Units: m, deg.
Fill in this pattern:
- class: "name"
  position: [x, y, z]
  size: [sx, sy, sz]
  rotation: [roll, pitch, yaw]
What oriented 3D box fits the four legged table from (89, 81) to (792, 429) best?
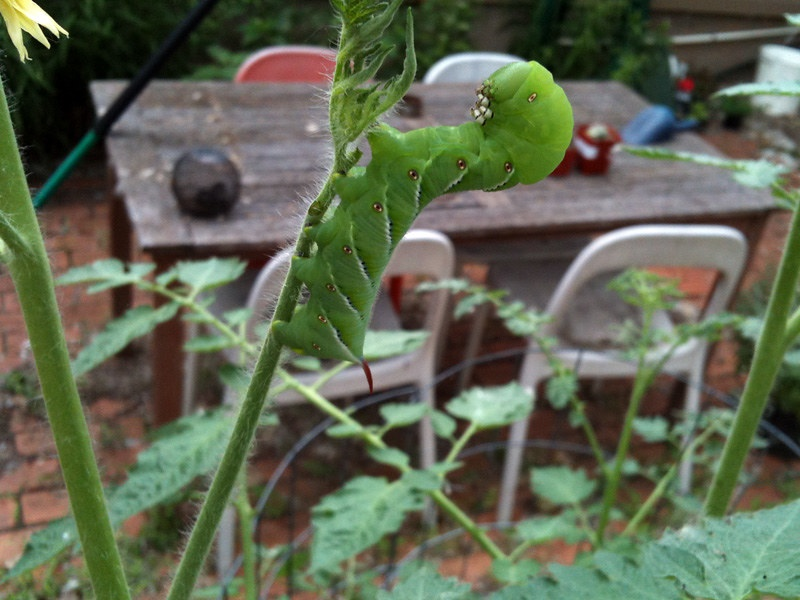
- class: "four legged table"
  position: [0.050, -0.062, 1.095]
  size: [0.630, 0.324, 0.495]
  rotation: [0, 49, -10]
